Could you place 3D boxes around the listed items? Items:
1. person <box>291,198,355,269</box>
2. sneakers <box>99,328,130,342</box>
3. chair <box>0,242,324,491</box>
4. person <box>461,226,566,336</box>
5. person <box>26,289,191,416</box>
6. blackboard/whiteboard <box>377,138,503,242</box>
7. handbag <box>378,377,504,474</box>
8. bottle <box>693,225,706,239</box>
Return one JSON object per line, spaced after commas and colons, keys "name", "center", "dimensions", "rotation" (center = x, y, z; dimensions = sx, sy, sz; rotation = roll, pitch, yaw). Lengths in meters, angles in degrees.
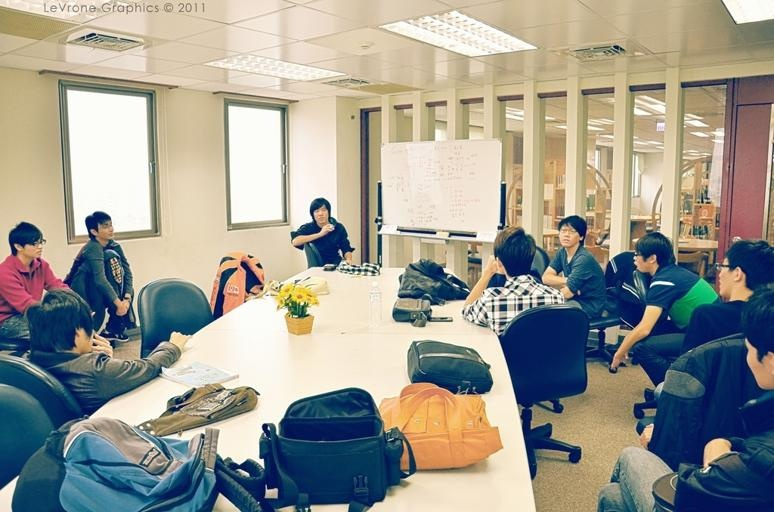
{"name": "person", "center": [-0.759, -0.095, 6.634], "dimensions": [0.783, 1.027, 0.644], "rotation": [-2, 2, -18]}
{"name": "sneakers", "center": [-3.047, 0.906, 6.659], "dimensions": [0.356, 0.142, 0.118], "rotation": [14, 7, -30]}
{"name": "chair", "center": [-1.421, 0.607, 3.929], "dimensions": [1.641, 0.521, 1.143], "rotation": [-15, 23, -42]}
{"name": "person", "center": [1.020, 0.185, 4.813], "dimensions": [0.916, 1.193, 0.635], "rotation": [0, 16, 5]}
{"name": "person", "center": [-1.779, 0.605, 3.777], "dimensions": [0.421, 0.889, 0.518], "rotation": [21, 35, 15]}
{"name": "blackboard/whiteboard", "center": [0.632, -0.798, 7.406], "dimensions": [1.914, 1.287, 0.135], "rotation": [7, 12, 40]}
{"name": "handbag", "center": [0.276, 0.841, 2.927], "dimensions": [0.404, 0.243, 0.516], "rotation": [-1, 4, -2]}
{"name": "bottle", "center": [4.880, -0.387, 9.234], "dimensions": [0.207, 0.186, 0.055], "rotation": [21, 9, 41]}
